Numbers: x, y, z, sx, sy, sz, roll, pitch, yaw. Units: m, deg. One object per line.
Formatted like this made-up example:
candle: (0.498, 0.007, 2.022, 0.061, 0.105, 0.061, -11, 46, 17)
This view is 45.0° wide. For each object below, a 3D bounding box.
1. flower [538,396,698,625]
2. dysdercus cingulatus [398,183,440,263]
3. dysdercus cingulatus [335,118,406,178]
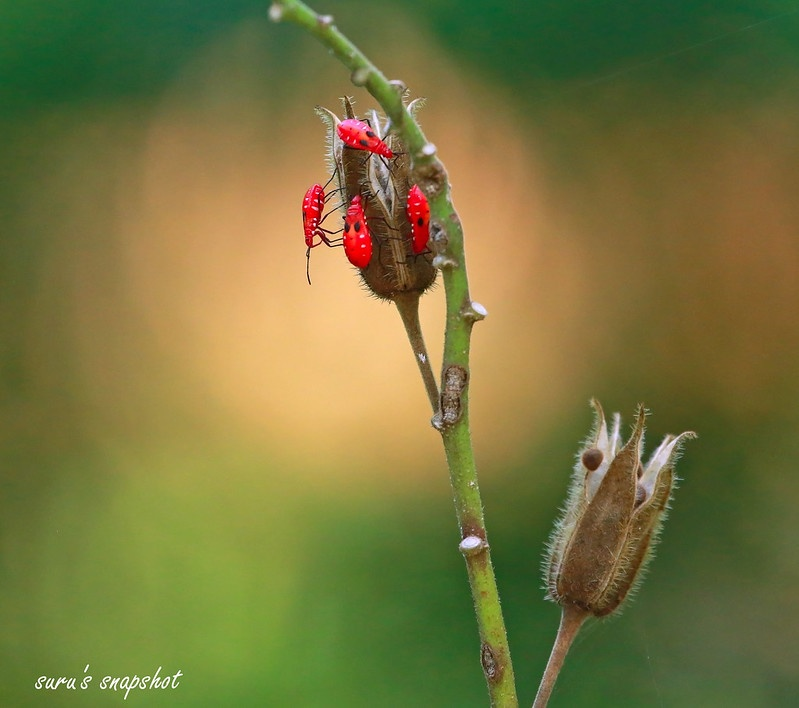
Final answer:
flower: (0.534, 0.387, 2.376, 0.322, 0.526, 0.219, -2, -2, 42)
dysdercus cingulatus: (0.038, -0.319, 2.291, 0.037, 0.148, 0.167, 3, 23, 23)
dysdercus cingulatus: (-0.075, -0.504, 2.293, 0.155, 0.049, 0.118, 32, 44, 16)
